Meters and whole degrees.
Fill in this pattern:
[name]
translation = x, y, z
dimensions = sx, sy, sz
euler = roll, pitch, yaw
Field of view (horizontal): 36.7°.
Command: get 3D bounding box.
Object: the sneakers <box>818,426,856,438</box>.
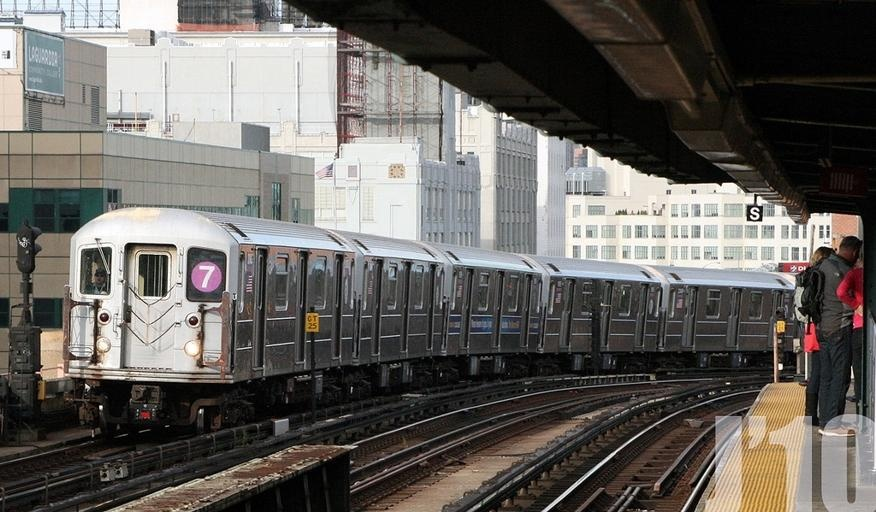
[sneakers]
translation = 6.888, 3.055, 22.948
dimensions = 0.606, 0.209, 0.192
euler = -2, 2, 8
